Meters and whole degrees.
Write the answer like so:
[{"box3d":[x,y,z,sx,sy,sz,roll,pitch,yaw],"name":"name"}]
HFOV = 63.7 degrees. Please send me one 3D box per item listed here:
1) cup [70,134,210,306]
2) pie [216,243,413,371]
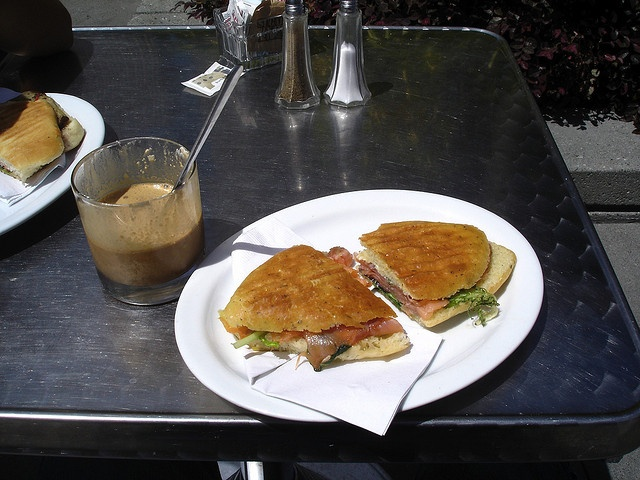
[{"box3d":[-0.531,-0.059,1.531,0.327,0.368,0.342,4,41,-3],"name":"cup"},{"box3d":[-0.025,0.222,1.408,0.473,0.083,0.388,38,59,26],"name":"pie"}]
